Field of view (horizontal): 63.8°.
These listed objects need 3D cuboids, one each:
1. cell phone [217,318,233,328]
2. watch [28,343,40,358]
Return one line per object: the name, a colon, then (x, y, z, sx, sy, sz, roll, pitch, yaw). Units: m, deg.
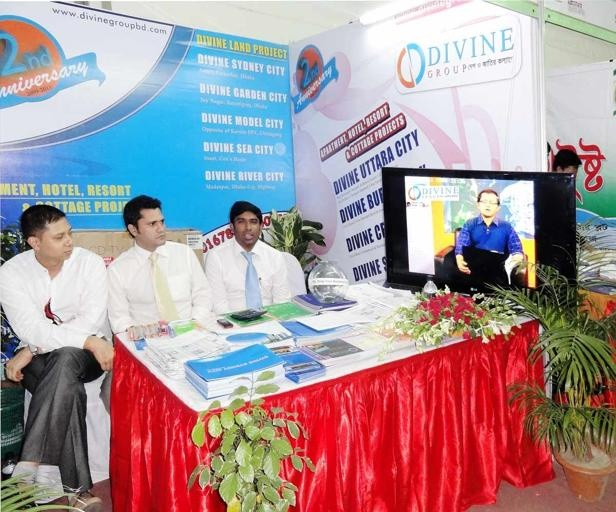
cell phone: (-0.448, 0.358, 2.687, 0.041, 0.020, 0.077, -4, 10, -28)
watch: (-1.661, 0.564, 3.002, 0.073, 0.033, 0.060, 37, 58, 16)
